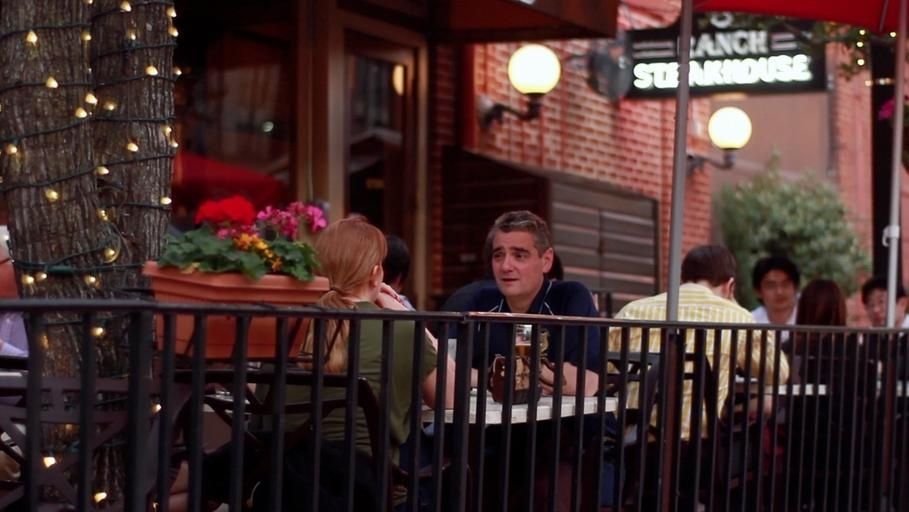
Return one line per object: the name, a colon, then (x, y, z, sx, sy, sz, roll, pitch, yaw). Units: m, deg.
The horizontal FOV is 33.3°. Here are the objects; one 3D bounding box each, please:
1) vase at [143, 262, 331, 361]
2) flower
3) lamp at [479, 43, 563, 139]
vase: (-1.603, 0.341, 10.658, 0.740, 0.538, 1.072, -3, -8, 42)
flower: (-1.544, -0.121, 10.905, 0.760, 0.477, 0.823, 16, 11, 34)
lamp: (0.716, -1.781, 16.163, 0.803, 0.830, 0.828, 3, -7, -27)
